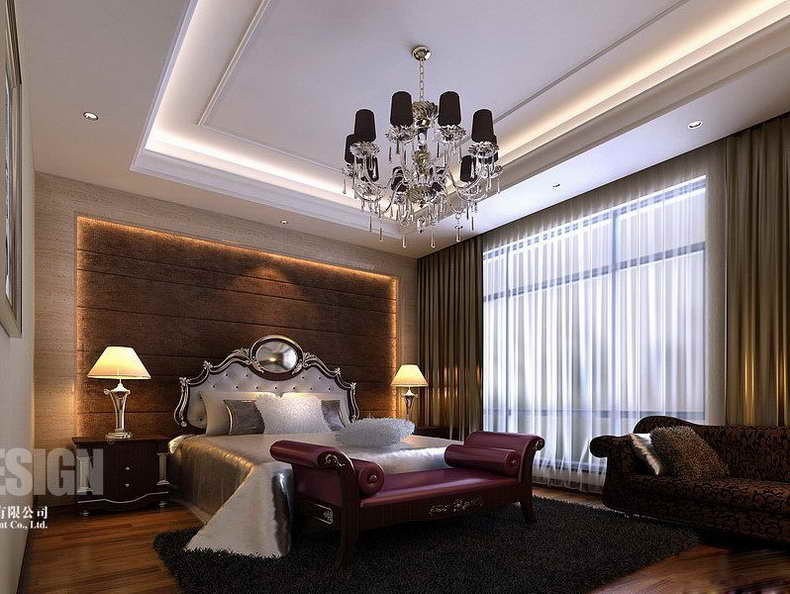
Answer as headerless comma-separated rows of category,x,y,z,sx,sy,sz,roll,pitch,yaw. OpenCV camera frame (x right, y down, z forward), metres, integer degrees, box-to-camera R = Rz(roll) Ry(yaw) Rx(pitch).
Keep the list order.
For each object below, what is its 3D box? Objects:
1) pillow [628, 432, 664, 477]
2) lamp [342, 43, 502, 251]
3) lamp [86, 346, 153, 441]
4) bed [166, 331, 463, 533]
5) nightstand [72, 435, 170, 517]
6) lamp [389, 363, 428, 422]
pillow,2.001,1.243,4.130,0.256,0.239,0.077,6,-37,-39
lamp,0.189,-1.275,3.949,1.043,1.366,1.036,5,-9,-37
lamp,-2.506,0.841,4.716,0.457,0.814,0.550,3,-7,-31
bed,-0.930,1.092,4.864,2.029,1.569,2.010,8,-14,-29
nightstand,-2.337,1.484,4.667,0.938,0.916,0.584,4,-13,-32
lamp,0.186,1.292,6.593,0.473,0.878,0.495,0,-13,3
